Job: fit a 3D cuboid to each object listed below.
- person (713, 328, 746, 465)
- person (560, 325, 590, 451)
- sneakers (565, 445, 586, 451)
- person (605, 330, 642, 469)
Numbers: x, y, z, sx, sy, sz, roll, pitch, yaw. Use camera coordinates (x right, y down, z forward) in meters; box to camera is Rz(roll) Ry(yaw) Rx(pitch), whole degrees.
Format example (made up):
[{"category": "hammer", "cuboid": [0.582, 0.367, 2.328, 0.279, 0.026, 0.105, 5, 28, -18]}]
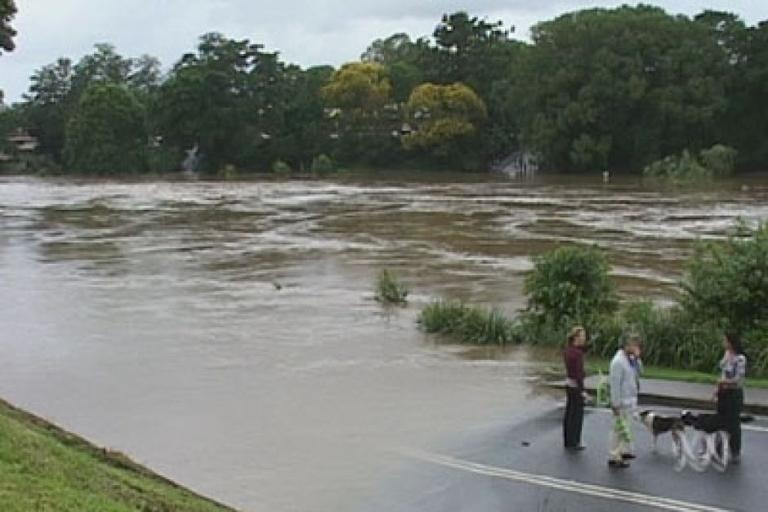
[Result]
[{"category": "person", "cuboid": [8.943, 3.668, 26.172, 0.735, 3.197, 0.746, 5, 14, 21]}, {"category": "person", "cuboid": [4.995, 3.491, 26.682, 0.580, 3.195, 0.682, 3, 13, 10]}, {"category": "sneakers", "cuboid": [5.050, 5.063, 26.832, 0.505, 0.232, 0.170, 5, -5, 12]}, {"category": "person", "cuboid": [6.170, 3.717, 26.212, 0.731, 3.377, 0.924, 3, 13, 11]}]
